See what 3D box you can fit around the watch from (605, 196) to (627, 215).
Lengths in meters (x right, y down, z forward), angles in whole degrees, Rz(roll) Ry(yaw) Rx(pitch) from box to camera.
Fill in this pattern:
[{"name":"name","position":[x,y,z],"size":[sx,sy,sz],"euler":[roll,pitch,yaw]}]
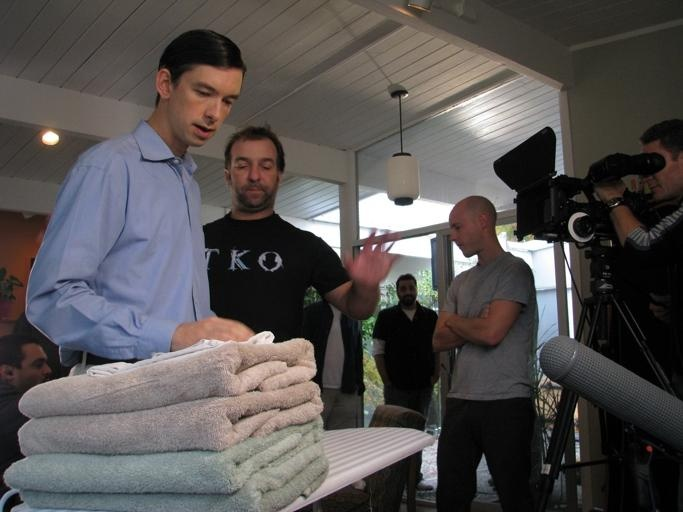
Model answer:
[{"name":"watch","position":[1.173,-0.225,2.255],"size":[0.074,0.052,0.070],"euler":[-9,-37,42]}]

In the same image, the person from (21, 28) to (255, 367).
[{"name":"person","position":[-0.420,-0.168,1.190],"size":[0.433,0.798,0.447],"euler":[8,-11,-36]}]

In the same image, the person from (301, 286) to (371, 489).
[{"name":"person","position":[-0.052,1.089,4.406],"size":[0.522,1.929,0.535],"euler":[-1,16,-6]}]
